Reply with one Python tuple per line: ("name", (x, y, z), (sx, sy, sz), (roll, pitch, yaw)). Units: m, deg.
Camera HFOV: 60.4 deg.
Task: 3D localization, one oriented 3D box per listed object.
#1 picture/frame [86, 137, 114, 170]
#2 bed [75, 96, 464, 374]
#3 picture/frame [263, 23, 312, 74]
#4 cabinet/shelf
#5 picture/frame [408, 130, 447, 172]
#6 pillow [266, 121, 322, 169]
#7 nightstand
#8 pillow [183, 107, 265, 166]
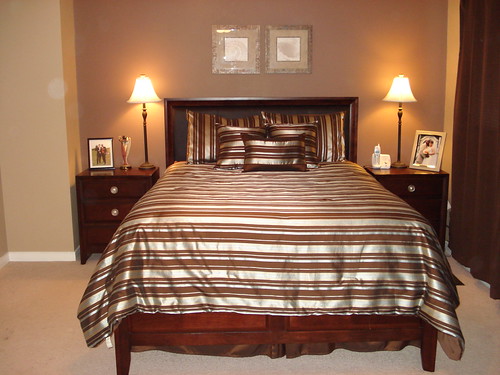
("picture/frame", (-1.534, -0.350, 4.422), (0.347, 0.405, 0.018), (-4, 3, -20))
("bed", (0.187, 0.354, 3.860), (2.610, 1.557, 2.632), (0, 6, 1))
("picture/frame", (0.404, -1.471, 4.466), (0.549, 0.496, 0.061), (0, 9, 0))
("cabinet/shelf", (-1.301, 0.248, 4.477), (0.979, 1.192, 0.823), (0, 5, -1))
("picture/frame", (1.823, -0.371, 4.371), (0.048, 0.572, 0.445), (11, -2, -43))
("pillow", (0.477, -0.397, 4.002), (0.506, 0.420, 0.146), (3, -10, -13))
("nightstand", (1.426, 0.226, 4.528), (0.870, 1.078, 0.733), (0, 6, 3))
("pillow", (-0.232, -0.487, 4.153), (0.688, 0.498, 0.185), (0, -15, -8))
